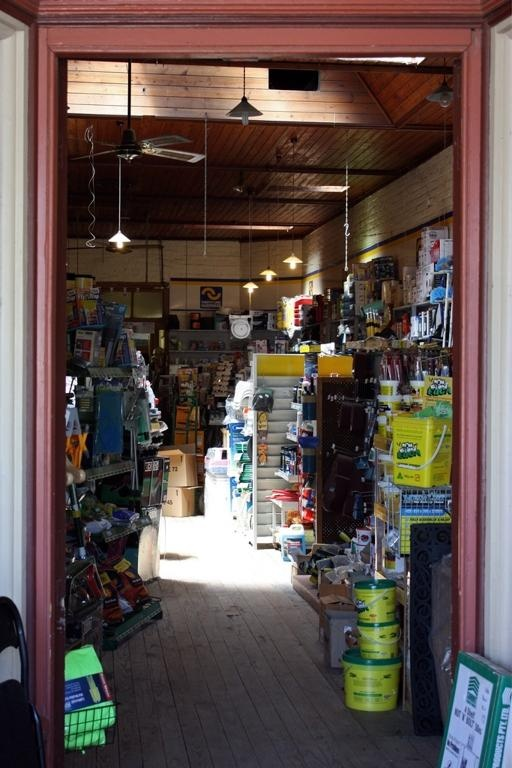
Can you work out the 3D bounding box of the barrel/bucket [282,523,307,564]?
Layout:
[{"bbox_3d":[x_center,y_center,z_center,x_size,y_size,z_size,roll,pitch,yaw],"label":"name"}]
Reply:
[{"bbox_3d":[0.410,1.711,6.470,0.250,0.412,0.410,-1,-3,-4],"label":"barrel/bucket"}]

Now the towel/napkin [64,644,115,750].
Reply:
[{"bbox_3d":[-0.558,1.051,2.029,0.154,0.311,0.211,0,-4,-17],"label":"towel/napkin"}]

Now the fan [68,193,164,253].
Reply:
[{"bbox_3d":[-2.693,-3.235,11.668,1.540,1.516,0.489,-1,-14,-18],"label":"fan"}]

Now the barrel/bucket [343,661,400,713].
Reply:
[{"bbox_3d":[0.633,1.633,3.278,0.277,0.225,0.292,-1,-1,0],"label":"barrel/bucket"}]

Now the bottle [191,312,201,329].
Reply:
[{"bbox_3d":[-1.569,-1.619,15.760,0.253,0.408,0.150,0,-4,-8],"label":"bottle"}]

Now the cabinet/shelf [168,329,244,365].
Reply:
[{"bbox_3d":[-1.380,-0.953,15.704,1.775,0.977,0.565,0,-4,-9],"label":"cabinet/shelf"}]

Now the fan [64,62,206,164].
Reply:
[{"bbox_3d":[-1.150,-2.417,5.332,0.787,0.803,0.769,-8,34,-20],"label":"fan"}]

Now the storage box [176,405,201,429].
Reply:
[{"bbox_3d":[-1.454,0.713,12.859,0.432,0.462,0.466,0,-3,-1],"label":"storage box"}]

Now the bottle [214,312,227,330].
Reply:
[{"bbox_3d":[-0.883,-1.623,15.699,0.352,0.451,0.266,-2,-4,11],"label":"bottle"}]

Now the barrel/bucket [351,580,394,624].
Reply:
[{"bbox_3d":[0.651,1.180,3.398,0.209,0.197,0.219,-2,-2,0],"label":"barrel/bucket"}]

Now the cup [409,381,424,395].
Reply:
[{"bbox_3d":[0.946,0.024,3.639,0.075,0.074,0.130,1,1,6],"label":"cup"}]

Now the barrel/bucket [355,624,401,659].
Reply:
[{"bbox_3d":[0.674,1.389,3.353,0.197,0.156,0.197,-1,-6,0],"label":"barrel/bucket"}]

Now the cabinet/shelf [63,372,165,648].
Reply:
[{"bbox_3d":[-0.992,0.864,4.226,0.714,1.870,1.891,0,-1,-6],"label":"cabinet/shelf"}]
